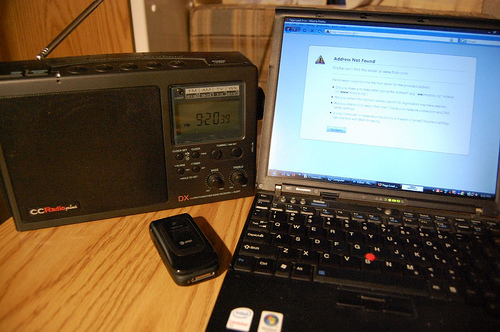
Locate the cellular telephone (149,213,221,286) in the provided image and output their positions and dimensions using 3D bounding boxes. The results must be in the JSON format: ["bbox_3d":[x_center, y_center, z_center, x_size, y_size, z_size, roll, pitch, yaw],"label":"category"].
[{"bbox_3d":[-0.138,0.165,0.783,0.106,0.040,0.173,-9,36,-30],"label":"cellular telephone"}]
